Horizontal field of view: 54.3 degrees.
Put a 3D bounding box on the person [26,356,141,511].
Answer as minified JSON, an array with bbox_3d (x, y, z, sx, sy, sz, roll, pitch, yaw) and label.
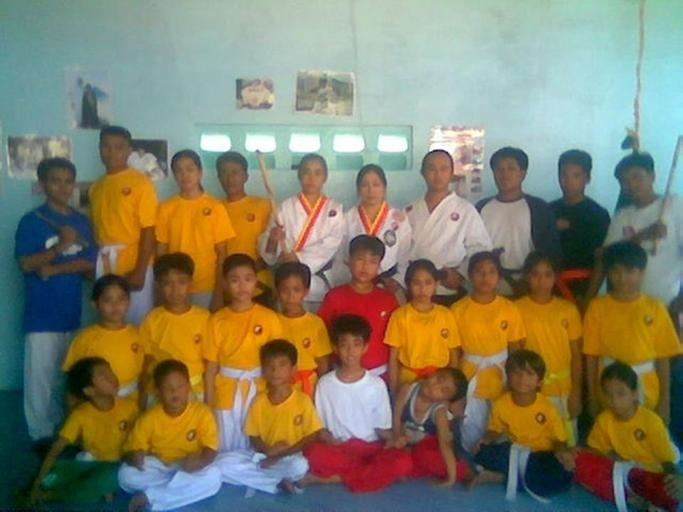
[{"bbox_3d":[-1.475,1.059,3.877,0.901,0.676,0.466,-1,1,-23],"label":"person"}]

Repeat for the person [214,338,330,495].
[{"bbox_3d":[-0.383,0.919,3.880,0.451,0.822,0.541,6,12,30],"label":"person"}]
